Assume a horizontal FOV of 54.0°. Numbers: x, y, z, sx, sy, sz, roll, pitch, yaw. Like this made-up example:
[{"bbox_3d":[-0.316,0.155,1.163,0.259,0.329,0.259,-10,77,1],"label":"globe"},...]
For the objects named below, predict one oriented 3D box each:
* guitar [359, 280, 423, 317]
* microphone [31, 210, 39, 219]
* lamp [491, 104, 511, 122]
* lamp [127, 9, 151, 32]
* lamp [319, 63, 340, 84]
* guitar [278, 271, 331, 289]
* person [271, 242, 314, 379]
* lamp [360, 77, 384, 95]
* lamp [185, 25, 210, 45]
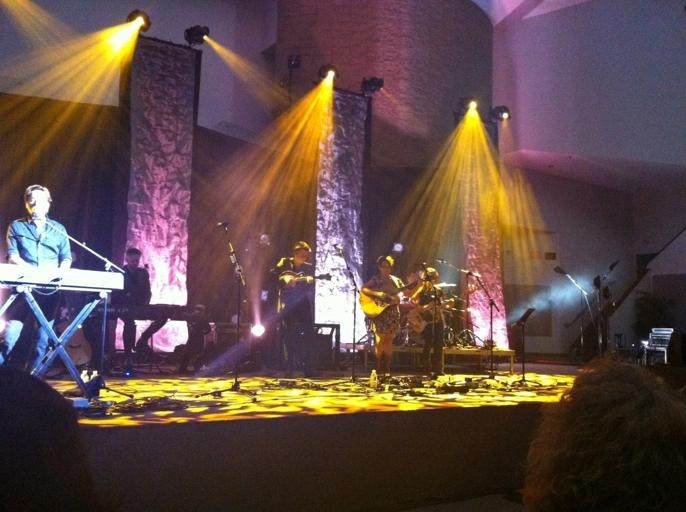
[{"bbox_3d":[0.664,0.529,8.803,0.887,0.408,0.121,-23,-11,-20],"label":"guitar"},{"bbox_3d":[-2.866,-0.379,6.240,0.075,0.068,0.042,0,-7,27],"label":"microphone"},{"bbox_3d":[3.036,-2.698,12.924,0.309,0.345,0.647,2,-7,18],"label":"lamp"},{"bbox_3d":[-2.899,-3.332,9.619,0.290,0.265,0.306,5,-7,-15],"label":"lamp"},{"bbox_3d":[-0.217,-3.055,11.152,0.327,0.309,0.203,6,-7,-20],"label":"lamp"},{"bbox_3d":[-0.477,0.303,8.656,0.603,0.280,0.095,1,38,27],"label":"guitar"},{"bbox_3d":[-0.519,0.488,9.111,0.589,1.524,0.401,-4,37,7],"label":"person"},{"bbox_3d":[0.521,-2.893,11.377,0.368,0.360,0.269,2,-6,17],"label":"lamp"},{"bbox_3d":[-2.142,-3.270,9.941,0.311,0.374,0.300,4,-6,-7],"label":"lamp"}]
